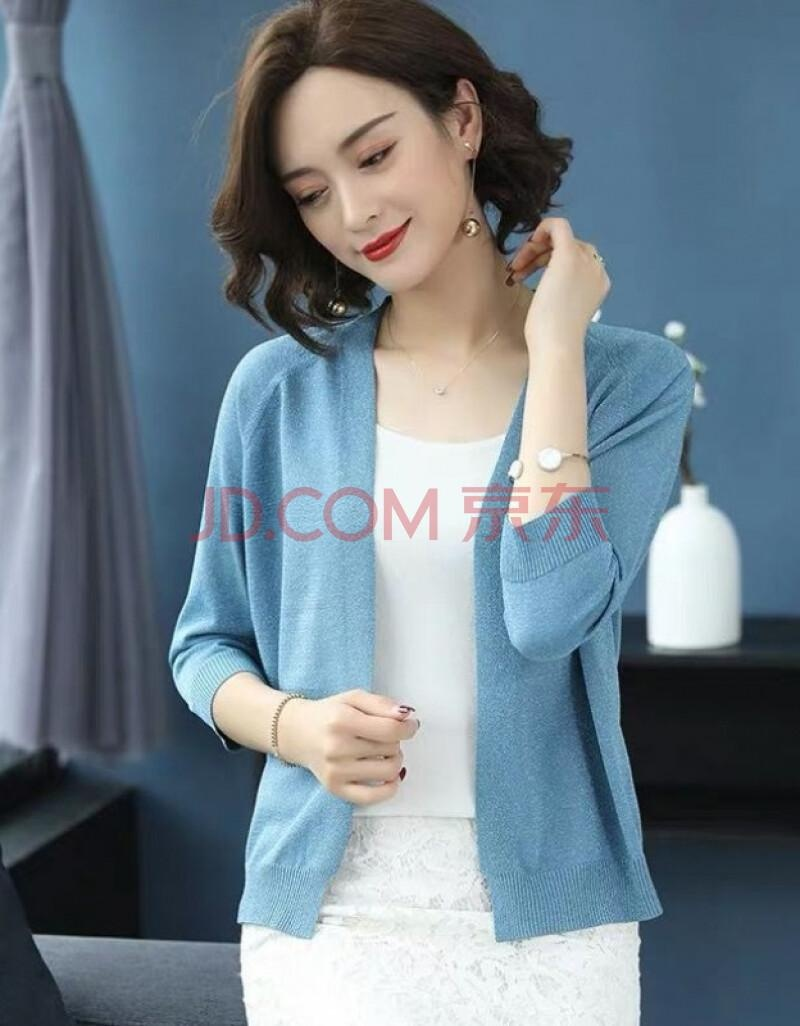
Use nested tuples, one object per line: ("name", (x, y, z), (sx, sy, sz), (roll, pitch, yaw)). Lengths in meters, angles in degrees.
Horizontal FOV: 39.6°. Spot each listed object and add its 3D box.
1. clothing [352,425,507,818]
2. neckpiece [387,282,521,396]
("clothing", (0.050, 0.148, 1.240), (0.168, 0.394, 0.035), (1, -9, -6))
("neckpiece", (0.060, -0.189, 1.333), (0.143, 0.154, 0.077), (-7, -16, 16))
